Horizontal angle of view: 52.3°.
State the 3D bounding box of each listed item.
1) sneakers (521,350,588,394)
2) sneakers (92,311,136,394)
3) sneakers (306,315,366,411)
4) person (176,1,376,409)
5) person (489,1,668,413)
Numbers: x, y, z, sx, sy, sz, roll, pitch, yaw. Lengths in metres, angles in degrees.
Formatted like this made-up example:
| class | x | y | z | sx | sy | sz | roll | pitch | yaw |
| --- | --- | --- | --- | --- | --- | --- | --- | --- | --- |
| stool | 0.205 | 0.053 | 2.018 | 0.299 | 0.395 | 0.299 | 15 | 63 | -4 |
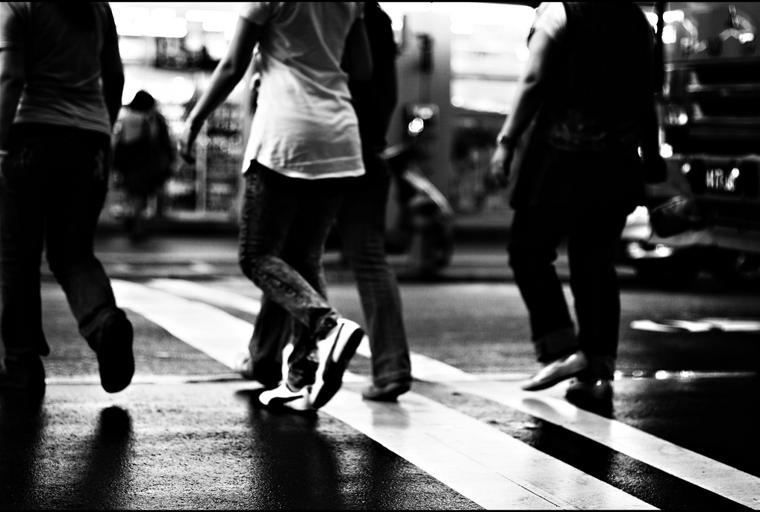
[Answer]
| class | x | y | z | sx | sy | sz | roll | pitch | yaw |
| --- | --- | --- | --- | --- | --- | --- | --- | --- | --- |
| sneakers | 1.069 | 0.722 | 4.777 | 0.489 | 0.169 | 0.156 | -21 | 14 | 26 |
| sneakers | -1.443 | 0.524 | 4.232 | 0.217 | 0.410 | 0.191 | -12 | 4 | -19 |
| sneakers | -0.272 | 0.546 | 4.092 | 0.257 | 0.577 | 0.196 | 30 | 44 | 11 |
| person | -0.512 | -0.270 | 4.173 | 0.889 | 2.239 | 0.831 | 3 | 8 | -3 |
| person | 1.183 | -0.330 | 4.704 | 0.997 | 2.371 | 0.392 | 4 | 8 | 6 |
